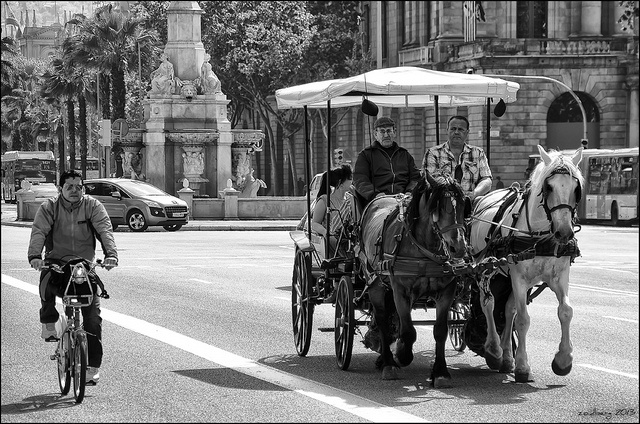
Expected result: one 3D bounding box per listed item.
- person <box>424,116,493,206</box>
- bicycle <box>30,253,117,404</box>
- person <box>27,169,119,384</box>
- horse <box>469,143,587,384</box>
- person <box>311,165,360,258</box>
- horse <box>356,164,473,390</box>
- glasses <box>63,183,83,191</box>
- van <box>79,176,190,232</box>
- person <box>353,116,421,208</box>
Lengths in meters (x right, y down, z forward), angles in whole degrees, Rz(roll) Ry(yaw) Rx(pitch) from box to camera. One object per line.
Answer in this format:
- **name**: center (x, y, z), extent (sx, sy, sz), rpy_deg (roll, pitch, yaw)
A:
- **person**: center (1.943, -0.714, 14.123), extent (0.559, 1.602, 0.632), rpy_deg (0, 1, 5)
- **bicycle**: center (-2.910, 1.327, 12.128), extent (0.551, 1.345, 1.771), rpy_deg (-1, 1, -19)
- **person**: center (-3.067, 0.701, 12.583), extent (0.988, 2.394, 1.463), rpy_deg (0, 1, -19)
- **horse**: center (2.717, 0.814, 13.734), extent (1.251, 2.854, 4.022), rpy_deg (2, -5, -3)
- **person**: center (-0.180, -0.026, 15.499), extent (0.674, 1.354, 1.626), rpy_deg (2, -1, -5)
- **horse**: center (1.235, 1.019, 13.622), extent (1.138, 2.593, 4.161), rpy_deg (0, -7, -7)
- **glasses**: center (-3.019, -0.302, 12.530), extent (0.241, 0.088, 0.160), rpy_deg (-3, 4, -23)
- **van**: center (-6.841, -0.251, 38.237), extent (6.515, 2.404, 2.720), rpy_deg (0, -1, 17)
- **person**: center (0.879, -0.622, 14.009), extent (0.574, 1.583, 0.585), rpy_deg (0, 1, 0)
